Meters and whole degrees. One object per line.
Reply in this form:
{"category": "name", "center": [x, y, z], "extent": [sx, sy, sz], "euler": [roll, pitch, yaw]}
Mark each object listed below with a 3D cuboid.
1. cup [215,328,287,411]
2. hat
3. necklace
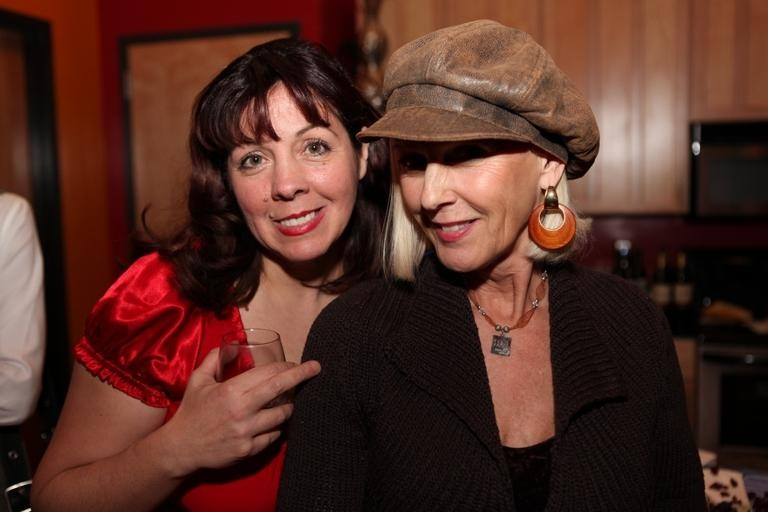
{"category": "cup", "center": [-0.461, 0.383, 2.587], "extent": [0.227, 0.273, 0.247], "euler": [-1, 1, 0]}
{"category": "hat", "center": [0.405, -0.592, 2.719], "extent": [0.799, 0.577, 0.956], "euler": [11, 4, 38]}
{"category": "necklace", "center": [0.453, 0.220, 2.670], "extent": [0.271, 0.361, 0.038], "euler": [0, 28, -10]}
